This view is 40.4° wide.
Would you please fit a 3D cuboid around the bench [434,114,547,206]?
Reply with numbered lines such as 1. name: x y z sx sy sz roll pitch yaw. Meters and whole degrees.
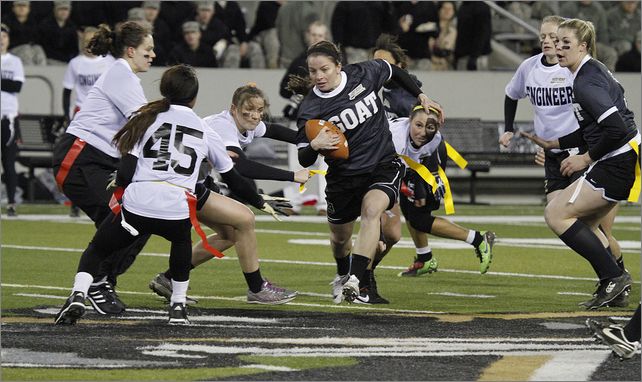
1. bench: 3.069 -0.619 16.048 1.985 1.139 0.722 1 -4 -13

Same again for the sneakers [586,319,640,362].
1. sneakers: 2.321 1.160 6.987 0.445 0.215 0.157 36 -17 30

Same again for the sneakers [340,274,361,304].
1. sneakers: 0.276 0.919 8.255 0.165 0.108 0.301 -31 -9 -15

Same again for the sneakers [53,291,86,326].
1. sneakers: -2.216 1.032 7.735 0.162 0.419 0.209 22 39 -24

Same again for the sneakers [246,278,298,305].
1. sneakers: -0.495 1.016 8.729 0.557 0.229 0.204 -1 -3 4

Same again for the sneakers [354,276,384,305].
1. sneakers: 0.477 1.051 8.758 0.394 0.223 0.140 -1 4 -42

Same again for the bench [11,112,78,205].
1. bench: -5.529 -0.796 16.682 1.300 1.119 0.570 1 20 24

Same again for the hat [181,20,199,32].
1. hat: -2.499 -3.087 16.514 0.290 0.229 0.282 2 10 -7

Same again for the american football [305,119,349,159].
1. american football: 0.075 -0.531 8.832 0.464 0.281 0.311 42 17 3

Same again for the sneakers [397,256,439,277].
1. sneakers: 1.105 0.883 10.425 0.579 0.255 0.187 -6 2 6

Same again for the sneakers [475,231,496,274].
1. sneakers: 1.901 0.699 10.076 0.263 0.516 0.190 3 -25 0

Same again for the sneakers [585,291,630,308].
1. sneakers: 2.882 1.051 8.679 0.532 0.206 0.177 1 -3 -7
